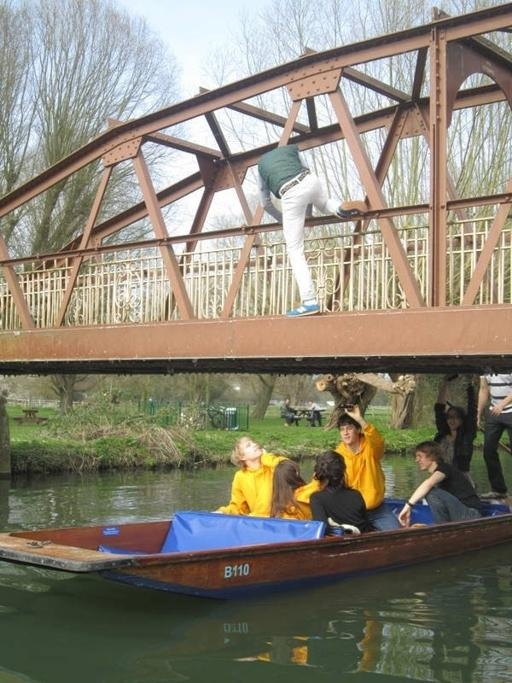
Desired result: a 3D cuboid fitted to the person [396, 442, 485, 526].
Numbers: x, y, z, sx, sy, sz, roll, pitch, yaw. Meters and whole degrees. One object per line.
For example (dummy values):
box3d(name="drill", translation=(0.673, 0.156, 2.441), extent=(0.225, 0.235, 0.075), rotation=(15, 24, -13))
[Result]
box3d(name="person", translation=(1.832, 1.569, 8.188), extent=(0.879, 1.123, 0.557), rotation=(6, -18, -26))

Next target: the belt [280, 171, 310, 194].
box3d(name="belt", translation=(0.340, -1.343, 6.902), extent=(0.207, 0.048, 0.205), rotation=(-40, 1, -43))

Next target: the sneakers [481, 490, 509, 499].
box3d(name="sneakers", translation=(2.868, 1.841, 9.663), extent=(0.491, 0.127, 0.083), rotation=(7, -3, -32))

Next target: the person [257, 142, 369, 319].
box3d(name="person", translation=(0.438, -1.010, 7.041), extent=(0.577, 1.612, 1.212), rotation=(0, -3, -25))

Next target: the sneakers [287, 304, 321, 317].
box3d(name="sneakers", translation=(0.416, -0.272, 6.723), extent=(0.266, 0.099, 0.096), rotation=(0, -1, 6))

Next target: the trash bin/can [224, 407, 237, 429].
box3d(name="trash bin/can", translation=(-0.830, 2.650, 27.734), extent=(0.419, 0.665, 0.858), rotation=(-1, -3, -2))

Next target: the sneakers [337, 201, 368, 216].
box3d(name="sneakers", translation=(0.802, -1.113, 6.646), extent=(0.298, 0.122, 0.097), rotation=(-6, 9, -25))
